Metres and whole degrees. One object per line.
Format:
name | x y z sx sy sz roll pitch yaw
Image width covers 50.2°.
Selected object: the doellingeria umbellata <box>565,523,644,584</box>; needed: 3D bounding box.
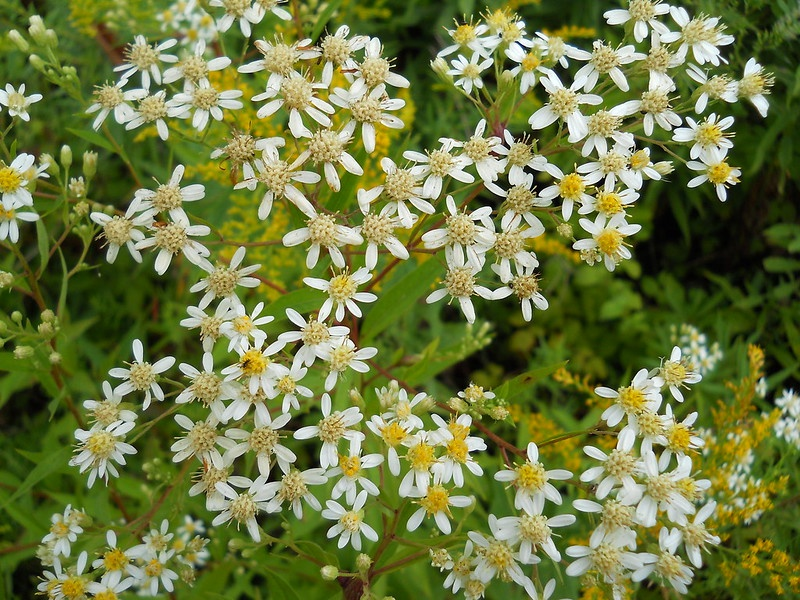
doellingeria umbellata | 1.099 1.375 4.569 0.314 0.127 0.352 -23 82 10
